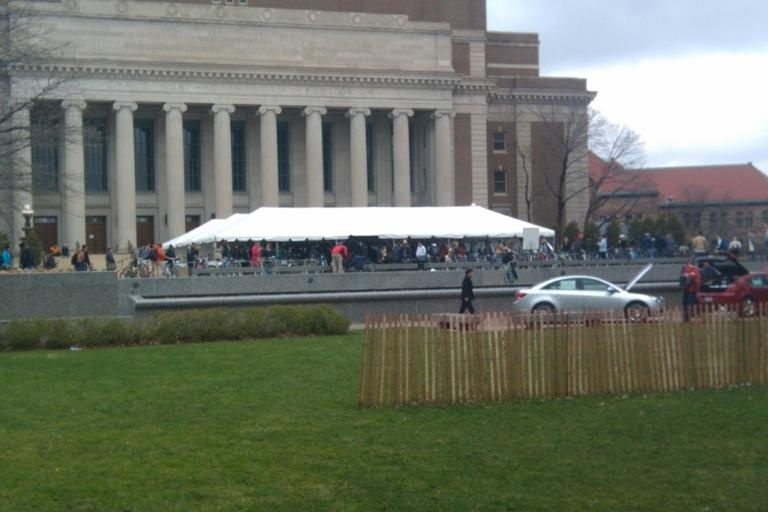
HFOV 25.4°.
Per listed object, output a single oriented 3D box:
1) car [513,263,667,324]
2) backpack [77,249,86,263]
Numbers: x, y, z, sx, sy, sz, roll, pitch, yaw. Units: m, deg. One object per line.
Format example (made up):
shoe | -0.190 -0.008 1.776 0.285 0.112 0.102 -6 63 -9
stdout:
car | 10.950 2.811 90.573 7.254 3.264 3.298 -2 0 1
backpack | -18.670 -0.009 103.524 0.488 0.672 0.252 -2 9 -40
